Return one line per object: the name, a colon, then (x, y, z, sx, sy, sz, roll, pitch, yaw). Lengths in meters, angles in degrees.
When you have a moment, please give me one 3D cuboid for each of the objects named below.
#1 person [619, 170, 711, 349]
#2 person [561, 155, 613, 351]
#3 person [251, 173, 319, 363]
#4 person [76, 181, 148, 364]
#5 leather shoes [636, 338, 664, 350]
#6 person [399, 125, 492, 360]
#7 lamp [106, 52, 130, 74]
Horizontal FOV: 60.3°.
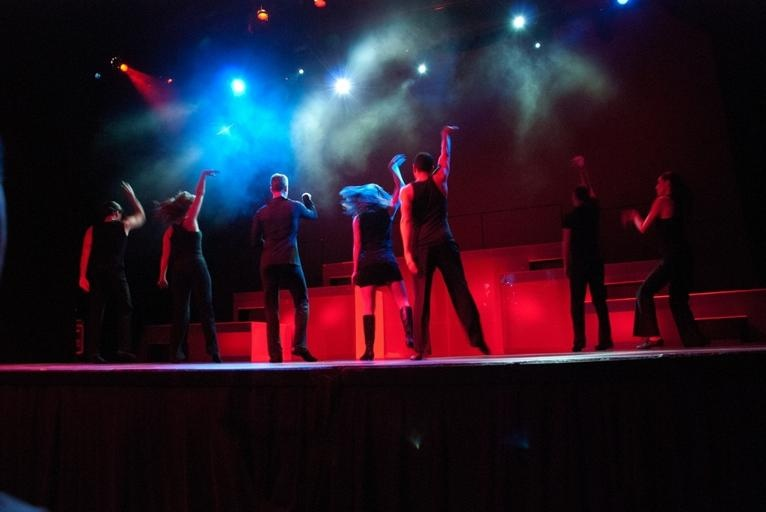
person: (3.022, 0.101, 6.957, 0.667, 1.873, 0.723, 2, 13, 24)
person: (2.157, 0.131, 6.963, 0.496, 1.653, 0.796, -1, 12, 12)
person: (-1.017, 0.151, 6.852, 0.639, 1.917, 0.964, -6, 12, -12)
person: (-3.136, 0.285, 7.613, 0.841, 2.197, 1.520, -9, 14, -26)
leather shoes: (2.831, 0.922, 6.984, 0.347, 0.154, 0.137, 0, -8, 3)
person: (0.510, -0.121, 6.224, 0.726, 2.096, 1.028, -6, 12, -13)
lamp: (-3.441, -2.466, 8.531, 0.066, 0.211, 0.278, 2, 14, 24)
